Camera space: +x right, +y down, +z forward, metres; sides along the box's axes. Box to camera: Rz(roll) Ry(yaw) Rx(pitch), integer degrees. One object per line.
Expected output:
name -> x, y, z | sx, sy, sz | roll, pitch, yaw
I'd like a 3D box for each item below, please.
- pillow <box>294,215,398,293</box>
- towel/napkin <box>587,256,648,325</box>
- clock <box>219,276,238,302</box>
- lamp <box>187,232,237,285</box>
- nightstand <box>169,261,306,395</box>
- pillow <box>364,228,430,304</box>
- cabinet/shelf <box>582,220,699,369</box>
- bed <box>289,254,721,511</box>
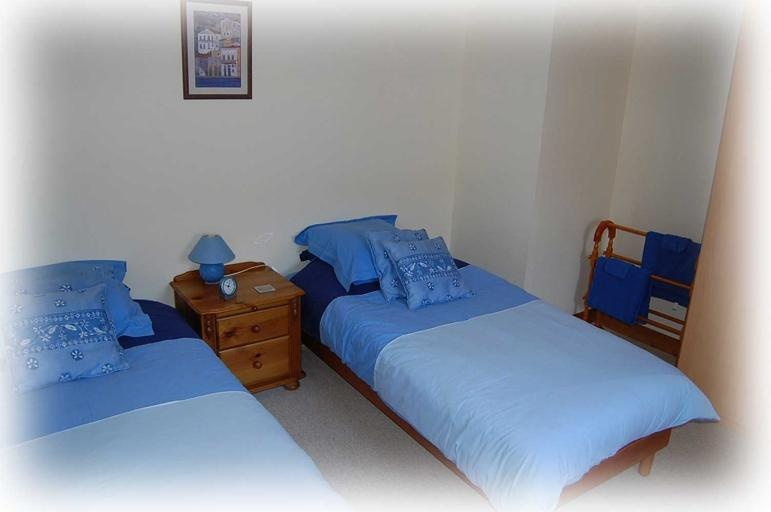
pillow -> -0.217, -0.070, 3.988 | 0.615, 0.162, 0.605 | -14, 32, -31
towel/napkin -> 1.972, 0.280, 4.244 | 0.193, 0.487, 0.500 | -7, 21, -28
clock -> -1.100, 0.233, 3.510 | 0.161, 0.196, 0.070 | -5, 7, -41
lamp -> -1.206, 0.000, 3.701 | 0.345, 0.342, 0.342 | 4, 14, 15
nightstand -> -1.106, 0.569, 3.760 | 0.883, 0.834, 0.762 | -5, 21, -28
pillow -> 0.062, 0.020, 3.758 | 0.575, 0.501, 0.163 | -5, -19, -22
cabinet/shelf -> 2.140, 0.281, 4.185 | 0.511, 0.966, 0.954 | -6, 20, -35
bed -> 0.501, 0.636, 3.159 | 1.178, 0.511, 1.875 | -17, 31, -31
